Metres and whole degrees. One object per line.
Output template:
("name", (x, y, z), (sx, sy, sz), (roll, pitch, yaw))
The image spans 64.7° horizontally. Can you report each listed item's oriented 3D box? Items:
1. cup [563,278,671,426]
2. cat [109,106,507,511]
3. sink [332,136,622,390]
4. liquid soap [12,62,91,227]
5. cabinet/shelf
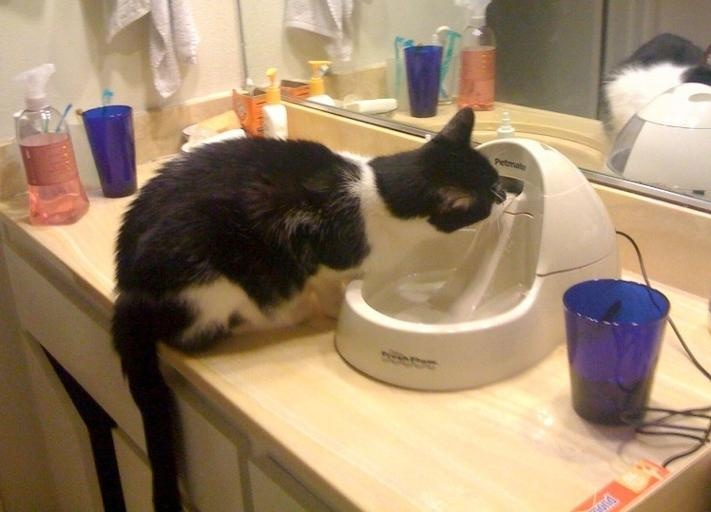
("cup", (0.329, 0.122, 0.726), (0.123, 0.151, 0.116), (-3, 26, 1))
("cat", (-0.073, 0.082, 1.021), (0.548, 0.239, 0.542), (-8, 59, -2))
("sink", (0.173, 0.008, 0.799), (0.320, 0.287, 0.305), (14, 31, 32))
("liquid soap", (-0.640, -0.224, 1.150), (0.129, 0.302, 0.148), (-14, 28, -20))
("cabinet/shelf", (-0.306, 0.169, 0.921), (0.650, 0.287, 0.190), (32, 43, 30))
